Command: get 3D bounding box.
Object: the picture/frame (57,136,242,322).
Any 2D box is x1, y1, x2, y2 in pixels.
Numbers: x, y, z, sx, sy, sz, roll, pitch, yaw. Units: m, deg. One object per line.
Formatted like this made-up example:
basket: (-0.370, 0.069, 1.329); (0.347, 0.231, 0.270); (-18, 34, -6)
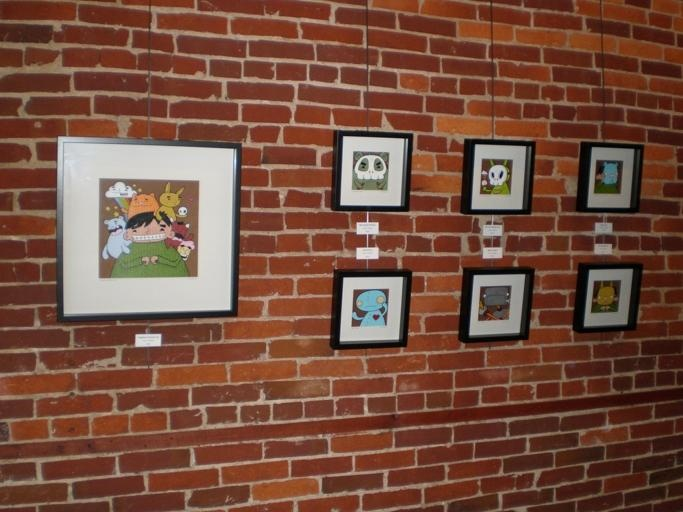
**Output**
picture/frame: (-0.816, -0.125, 2.715); (0.773, 0.761, 0.030); (0, 2, -15)
